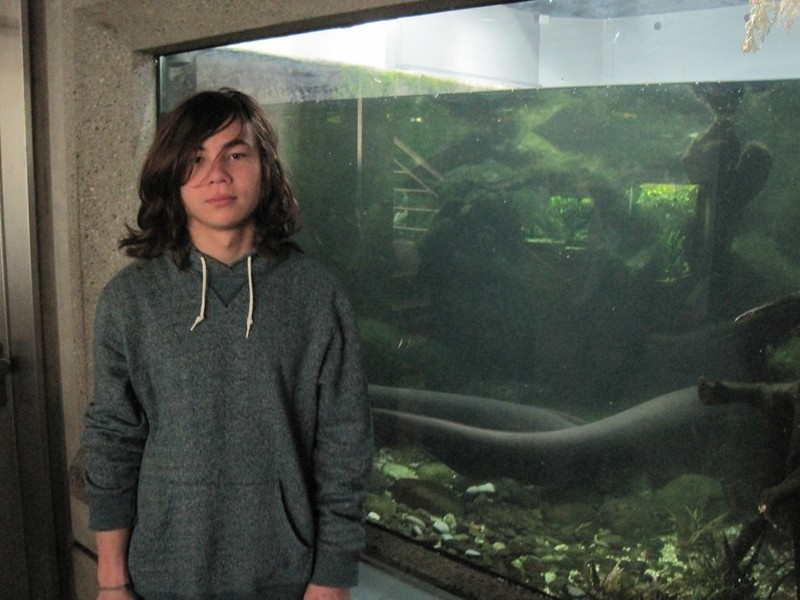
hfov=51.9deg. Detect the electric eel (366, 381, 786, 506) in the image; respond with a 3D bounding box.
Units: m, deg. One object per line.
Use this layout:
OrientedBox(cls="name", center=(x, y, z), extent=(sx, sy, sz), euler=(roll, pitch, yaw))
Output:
OrientedBox(cls="electric eel", center=(0.683, 0.510, 3.369), extent=(1.518, 0.541, 0.455), euler=(8, -4, 32))
